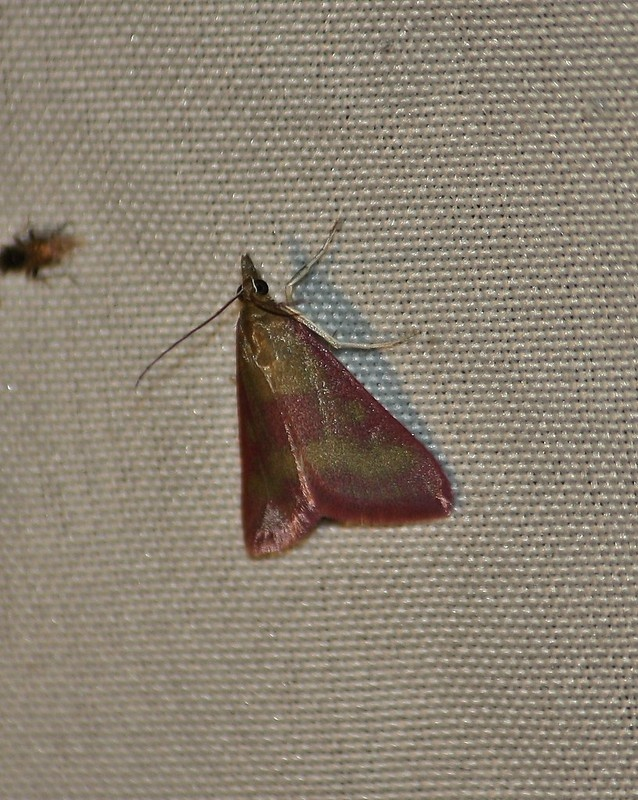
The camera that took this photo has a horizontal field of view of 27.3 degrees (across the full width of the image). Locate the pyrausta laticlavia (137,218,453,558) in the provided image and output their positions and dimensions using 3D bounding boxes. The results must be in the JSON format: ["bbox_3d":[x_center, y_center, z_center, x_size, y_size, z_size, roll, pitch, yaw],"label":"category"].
[{"bbox_3d":[0.004,0.039,1.734,0.311,0.156,0.519,-18,-91,16],"label":"pyrausta laticlavia"}]
